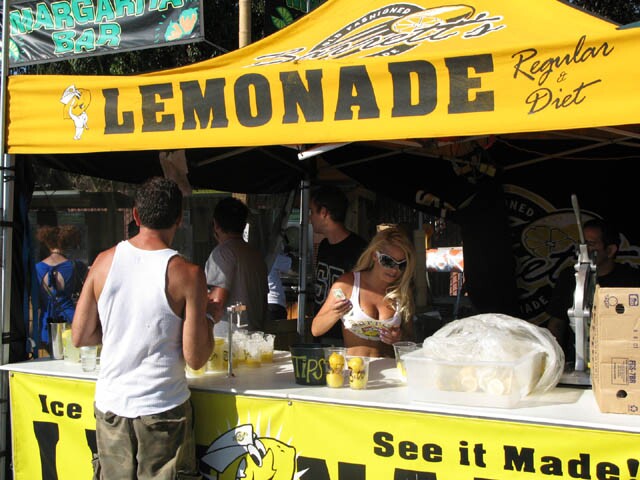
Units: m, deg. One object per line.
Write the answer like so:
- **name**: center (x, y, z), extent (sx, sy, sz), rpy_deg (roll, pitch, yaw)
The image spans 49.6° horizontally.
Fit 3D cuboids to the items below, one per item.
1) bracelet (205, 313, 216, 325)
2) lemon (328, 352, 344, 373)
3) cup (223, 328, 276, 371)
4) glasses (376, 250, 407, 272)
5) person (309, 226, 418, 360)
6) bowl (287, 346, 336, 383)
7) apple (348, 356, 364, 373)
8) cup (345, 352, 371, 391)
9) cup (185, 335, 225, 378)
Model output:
- **bracelet**: center (-0.647, 0.462, 4.087), extent (0.062, 0.071, 0.027), rpy_deg (-17, -5, -26)
- **lemon**: center (0.091, 0.713, 4.019), extent (0.099, 0.125, 0.102), rpy_deg (-1, -7, 7)
- **cup**: center (-0.431, 0.732, 4.582), extent (0.234, 0.174, 0.271), rpy_deg (5, -8, -30)
- **glasses**: center (0.504, 0.145, 4.721), extent (0.222, 0.121, 0.072), rpy_deg (3, -5, -21)
- **person**: center (0.308, 0.365, 4.769), extent (0.622, 0.916, 0.840), rpy_deg (-1, -5, 25)
- **bowl**: center (-0.063, 0.759, 4.187), extent (0.260, 0.202, 0.261), rpy_deg (0, -10, 0)
- **apple**: center (0.206, 0.720, 4.031), extent (0.072, 0.098, 0.095), rpy_deg (0, 11, -31)
- **cup**: center (0.223, 0.774, 4.086), extent (0.164, 0.197, 0.166), rpy_deg (1, 2, 0)
- **cup**: center (-0.707, 0.739, 4.337), extent (0.206, 0.180, 0.235), rpy_deg (2, -8, -4)
